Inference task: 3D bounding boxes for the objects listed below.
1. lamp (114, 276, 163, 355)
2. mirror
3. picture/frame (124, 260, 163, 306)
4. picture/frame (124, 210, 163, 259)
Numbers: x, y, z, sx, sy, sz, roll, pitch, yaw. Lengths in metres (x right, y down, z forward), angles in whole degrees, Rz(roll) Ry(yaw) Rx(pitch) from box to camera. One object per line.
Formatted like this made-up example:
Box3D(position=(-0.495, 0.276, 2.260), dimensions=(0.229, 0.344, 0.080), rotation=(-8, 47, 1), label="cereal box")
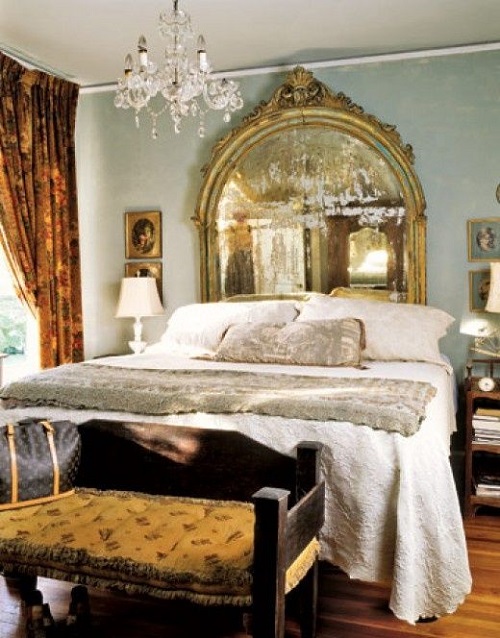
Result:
Box3D(position=(-0.752, 0.006, 4.176), dimensions=(0.328, 0.529, 0.285), rotation=(1, 1, -2), label="lamp")
Box3D(position=(0.428, -0.844, 3.861), dimensions=(1.796, 1.728, 0.083), rotation=(0, 3, 17), label="mirror")
Box3D(position=(-0.713, -0.231, 4.189), dimensions=(0.373, 0.371, 0.029), rotation=(-1, -1, 16), label="picture/frame")
Box3D(position=(-0.740, -0.597, 4.350), dimensions=(0.394, 0.419, 0.035), rotation=(0, 1, 18), label="picture/frame")
